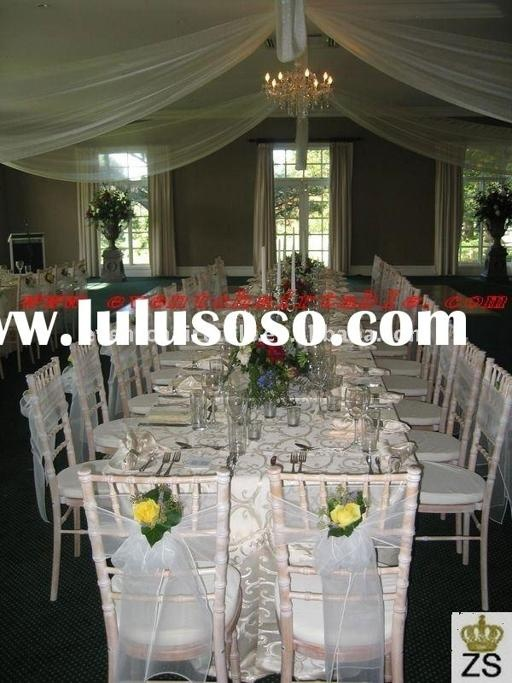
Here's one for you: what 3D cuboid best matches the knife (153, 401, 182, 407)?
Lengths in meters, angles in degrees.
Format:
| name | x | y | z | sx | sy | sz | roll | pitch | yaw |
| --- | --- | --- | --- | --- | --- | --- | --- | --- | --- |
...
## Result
| name | x | y | z | sx | sy | sz | roll | pitch | yaw |
| --- | --- | --- | --- | --- | --- | --- | --- | --- | --- |
| knife | -0.375 | 0.272 | 2.358 | 0.131 | 0.013 | 0.109 | -1 | 7 | 1 |

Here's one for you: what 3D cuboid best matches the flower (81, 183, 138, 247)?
| name | x | y | z | sx | sy | sz | roll | pitch | yaw |
| --- | --- | --- | --- | --- | --- | --- | --- | --- | --- |
| flower | -3.450 | -2.880 | 12.630 | 1.090 | 1.136 | 1.109 | -6 | 2 | -23 |

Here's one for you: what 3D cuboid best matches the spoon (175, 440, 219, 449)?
| name | x | y | z | sx | sy | sz | roll | pitch | yaw |
| --- | --- | --- | --- | --- | --- | --- | --- | --- | --- |
| spoon | -0.203 | 0.367 | 1.903 | 0.185 | 0.006 | 0.080 | 1 | 7 | 12 |

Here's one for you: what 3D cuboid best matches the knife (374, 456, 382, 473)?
| name | x | y | z | sx | sy | sz | roll | pitch | yaw |
| --- | --- | --- | --- | --- | --- | --- | --- | --- | --- |
| knife | 0.390 | 0.387 | 1.699 | 0.017 | 0.057 | 0.020 | -7 | 50 | 0 |

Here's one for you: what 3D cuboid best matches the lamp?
| name | x | y | z | sx | sy | sz | roll | pitch | yaw |
| --- | --- | --- | --- | --- | --- | --- | --- | --- | --- |
| lamp | 0.563 | -3.368 | 7.223 | 0.813 | 0.673 | 0.776 | 1 | 5 | -1 |

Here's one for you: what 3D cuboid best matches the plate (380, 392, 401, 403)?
| name | x | y | z | sx | sy | sz | roll | pitch | yaw |
| --- | --- | --- | --- | --- | --- | --- | --- | --- | --- |
| plate | 0.613 | 0.256 | 2.443 | 0.093 | 0.041 | 0.135 | 3 | 8 | 27 |
